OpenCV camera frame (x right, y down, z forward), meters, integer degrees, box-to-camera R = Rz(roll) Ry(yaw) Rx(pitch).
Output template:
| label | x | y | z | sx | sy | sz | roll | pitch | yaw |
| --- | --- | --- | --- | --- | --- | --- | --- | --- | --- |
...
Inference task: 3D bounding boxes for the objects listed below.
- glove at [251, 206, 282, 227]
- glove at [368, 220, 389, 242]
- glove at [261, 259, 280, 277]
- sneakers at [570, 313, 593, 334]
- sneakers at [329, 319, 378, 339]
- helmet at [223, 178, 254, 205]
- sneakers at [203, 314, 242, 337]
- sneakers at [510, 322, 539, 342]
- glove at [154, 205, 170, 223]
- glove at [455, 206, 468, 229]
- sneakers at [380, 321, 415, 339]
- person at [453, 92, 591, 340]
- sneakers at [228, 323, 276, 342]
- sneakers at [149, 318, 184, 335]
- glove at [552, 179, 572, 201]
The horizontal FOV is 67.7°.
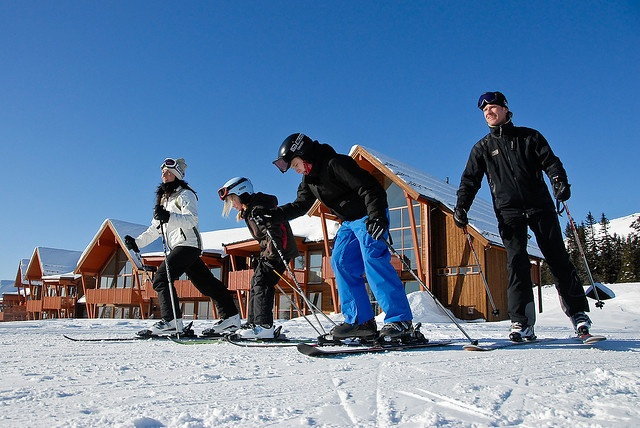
| label | x | y | z | sx | sy | sz | roll | pitch | yaw |
| --- | --- | --- | --- | --- | --- | --- | --- | --- | --- |
| glove | -0.559 | 0.026 | 4.824 | 0.237 | 0.196 | 0.117 | -2 | 0 | 5 |
| glove | 0.496 | 0.145 | 4.010 | 0.133 | 0.188 | 0.071 | 2 | 0 | 44 |
| glove | -0.554 | 0.603 | 5.403 | 0.202 | 0.189 | 0.159 | 21 | 7 | -18 |
| sneakers | 2.398 | 1.030 | 4.400 | 0.127 | 0.218 | 0.085 | 10 | -41 | -9 |
| sneakers | 0.317 | 1.037 | 4.192 | 0.379 | 0.172 | 0.166 | 0 | -39 | 5 |
| helmet | -0.897 | -0.232 | 5.211 | 0.296 | 0.238 | 0.240 | -18 | -15 | -7 |
| sneakers | -1.116 | 1.328 | 5.675 | 0.517 | 0.246 | 0.174 | -1 | -5 | -30 |
| sneakers | 1.898 | 1.127 | 4.480 | 0.318 | 0.160 | 0.120 | 20 | -27 | -40 |
| glove | -1.763 | 0.006 | 5.405 | 0.143 | 0.172 | 0.187 | -8 | -31 | 25 |
| glove | 1.374 | 0.032 | 4.715 | 0.101 | 0.204 | 0.149 | 2 | -9 | -14 |
| sneakers | 0.660 | 1.011 | 4.116 | 0.301 | 0.136 | 0.120 | 3 | -11 | -11 |
| person | 1.904 | 0.005 | 4.644 | 0.961 | 2.402 | 0.644 | -10 | -12 | 24 |
| sneakers | -0.700 | 1.260 | 4.938 | 0.456 | 0.205 | 0.185 | 9 | -18 | -17 |
| sneakers | -1.668 | 1.292 | 5.403 | 0.476 | 0.233 | 0.164 | 6 | -16 | -12 |
| glove | 2.132 | -0.210 | 4.214 | 0.134 | 0.215 | 0.215 | -11 | -13 | 27 |
